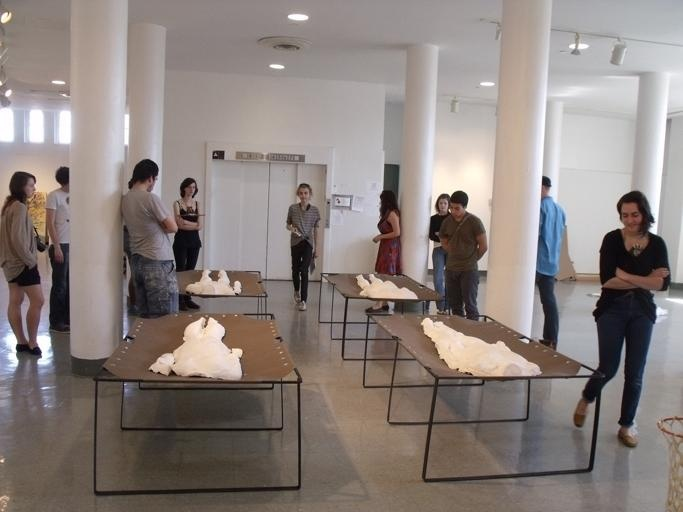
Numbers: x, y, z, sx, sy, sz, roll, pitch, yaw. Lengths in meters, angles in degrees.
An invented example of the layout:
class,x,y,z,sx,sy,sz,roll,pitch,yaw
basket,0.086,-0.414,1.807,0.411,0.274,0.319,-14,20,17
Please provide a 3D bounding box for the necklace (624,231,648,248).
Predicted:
class,x,y,z,sx,sy,sz,roll,pitch,yaw
necklace,2.344,-0.124,4.415,0.045,0.114,0.149,-1,2,-39

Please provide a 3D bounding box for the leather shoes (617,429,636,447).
class,x,y,z,sx,sy,sz,roll,pitch,yaw
leather shoes,2.313,1.474,4.482,0.080,0.076,0.179,-3,-2,2

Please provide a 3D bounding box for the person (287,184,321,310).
class,x,y,z,sx,sy,sz,roll,pitch,yaw
person,-0.587,-0.137,8.261,0.451,1.885,0.505,2,10,-3

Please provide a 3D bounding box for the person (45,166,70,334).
class,x,y,z,sx,sy,sz,roll,pitch,yaw
person,-3.332,-0.075,6.520,0.263,1.936,0.339,-4,12,-32

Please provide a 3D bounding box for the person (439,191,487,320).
class,x,y,z,sx,sy,sz,roll,pitch,yaw
person,1.388,0.038,6.281,0.342,1.240,0.659,-2,11,-24

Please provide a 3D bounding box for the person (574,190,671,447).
class,x,y,z,sx,sy,sz,roll,pitch,yaw
person,2.276,0.497,4.432,0.501,2.018,0.348,8,12,30

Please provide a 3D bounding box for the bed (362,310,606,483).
class,x,y,z,sx,sy,sz,roll,pitch,yaw
bed,1.132,1.058,4.676,1.465,0.814,1.813,0,11,-13

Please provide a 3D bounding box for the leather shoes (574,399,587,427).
class,x,y,z,sx,sy,sz,roll,pitch,yaw
leather shoes,2.050,1.365,4.773,0.090,0.259,0.090,3,-17,9

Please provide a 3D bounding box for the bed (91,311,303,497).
class,x,y,z,sx,sy,sz,roll,pitch,yaw
bed,-1.144,0.954,4.701,1.404,0.588,2.505,3,4,-12

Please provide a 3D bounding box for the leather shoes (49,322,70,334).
class,x,y,z,sx,sy,sz,roll,pitch,yaw
leather shoes,-3.345,0.866,6.589,0.267,0.112,0.099,1,5,-13

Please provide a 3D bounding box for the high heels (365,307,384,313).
class,x,y,z,sx,sy,sz,roll,pitch,yaw
high heels,0.481,0.800,8.127,0.309,0.096,0.119,3,-3,-16

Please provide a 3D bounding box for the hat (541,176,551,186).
class,x,y,z,sx,sy,sz,roll,pitch,yaw
hat,2.324,-0.846,6.316,0.110,0.060,0.152,12,17,0

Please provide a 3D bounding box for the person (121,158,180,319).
class,x,y,z,sx,sy,sz,roll,pitch,yaw
person,-1.835,-0.153,5.369,0.468,1.533,0.641,-5,12,-35

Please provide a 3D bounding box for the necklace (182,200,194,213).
class,x,y,z,sx,sy,sz,roll,pitch,yaw
necklace,-2.109,-0.686,7.637,0.157,0.169,0.054,3,-8,-22

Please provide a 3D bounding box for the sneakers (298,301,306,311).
class,x,y,z,sx,sy,sz,roll,pitch,yaw
sneakers,-0.592,0.744,8.247,0.119,0.143,0.362,0,-3,-2
